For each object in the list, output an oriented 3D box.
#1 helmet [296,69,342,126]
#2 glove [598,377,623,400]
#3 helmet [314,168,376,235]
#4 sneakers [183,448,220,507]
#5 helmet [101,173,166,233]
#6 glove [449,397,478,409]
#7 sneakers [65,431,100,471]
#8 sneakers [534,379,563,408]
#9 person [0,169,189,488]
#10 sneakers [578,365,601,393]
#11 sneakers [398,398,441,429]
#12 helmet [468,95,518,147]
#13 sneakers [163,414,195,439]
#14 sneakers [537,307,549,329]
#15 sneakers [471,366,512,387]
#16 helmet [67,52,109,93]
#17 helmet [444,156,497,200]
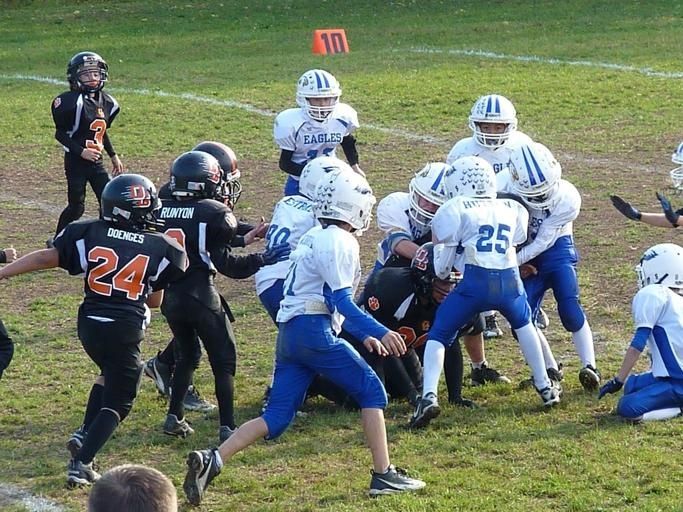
[{"bbox_3d":[-0.322,-1.878,13.570,0.533,0.457,0.585,-5,34,-14],"label":"helmet"},{"bbox_3d":[2.514,1.217,11.088,0.228,0.082,0.226,-32,-3,-5],"label":"glove"},{"bbox_3d":[0.049,-0.493,10.604,0.469,0.465,0.621,14,-1,43],"label":"helmet"},{"bbox_3d":[-1.173,1.876,10.142,0.321,0.491,0.108,-8,16,-33],"label":"sneakers"},{"bbox_3d":[-1.908,-0.487,10.562,0.622,0.428,0.431,-2,8,-20],"label":"helmet"},{"bbox_3d":[1.167,1.393,11.338,0.293,0.091,0.090,1,7,11],"label":"glove"},{"bbox_3d":[-2.288,1.665,10.591,0.189,0.448,0.243,3,1,2],"label":"sneakers"},{"bbox_3d":[2.019,1.279,11.291,0.173,0.245,0.322,11,15,36],"label":"sneakers"},{"bbox_3d":[-2.040,0.621,10.559,1.170,2.628,0.746,-10,17,-38],"label":"person"},{"bbox_3d":[2.410,1.183,11.491,0.135,0.294,0.135,-2,46,45],"label":"sneakers"},{"bbox_3d":[0.702,1.445,10.944,0.171,0.423,0.200,23,39,-18],"label":"sneakers"},{"bbox_3d":[1.617,-1.425,12.638,0.559,0.483,0.586,0,18,3],"label":"helmet"},{"bbox_3d":[-1.499,1.575,11.077,0.373,0.139,0.126,20,9,-33],"label":"sneakers"},{"bbox_3d":[2.180,0.643,12.887,0.135,0.132,0.328,-6,28,11],"label":"sneakers"},{"bbox_3d":[1.500,1.205,11.872,0.441,0.171,0.160,-1,3,5],"label":"sneakers"},{"bbox_3d":[-3.084,-2.234,14.672,0.485,0.412,0.565,-3,6,-27],"label":"helmet"},{"bbox_3d":[1.222,-0.728,11.202,0.399,0.346,0.465,1,14,0],"label":"helmet"}]
